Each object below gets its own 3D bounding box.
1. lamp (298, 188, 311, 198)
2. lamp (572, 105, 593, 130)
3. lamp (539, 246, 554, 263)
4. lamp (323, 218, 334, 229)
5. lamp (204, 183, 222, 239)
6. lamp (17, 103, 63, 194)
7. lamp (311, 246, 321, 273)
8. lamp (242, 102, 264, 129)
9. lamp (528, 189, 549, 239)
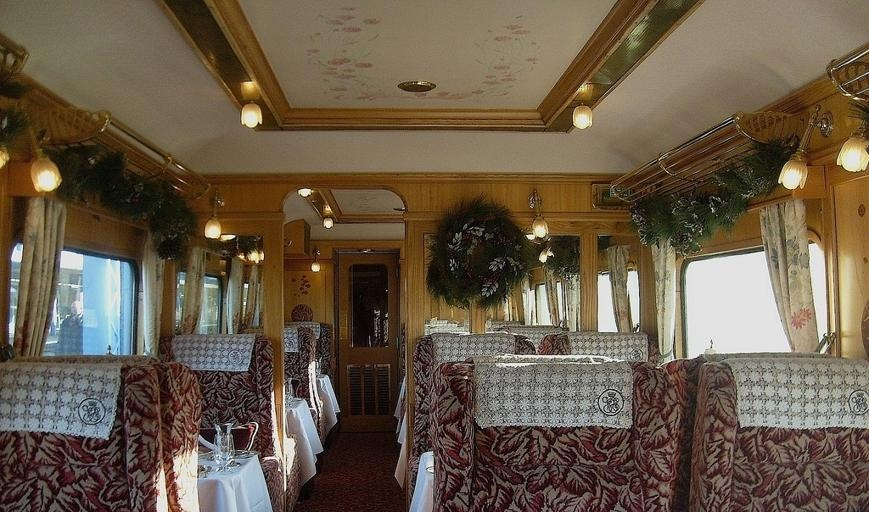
[{"bbox_3d":[-1.679,-0.822,7.491,0.145,0.035,0.145,-6,-18,26],"label":"lamp"},{"bbox_3d":[1.415,-1.358,5.474,0.137,0.289,0.267,-6,-13,24],"label":"lamp"},{"bbox_3d":[1.378,-0.011,7.121,0.195,0.205,0.154,-1,-19,-2],"label":"lamp"},{"bbox_3d":[-1.738,-0.511,9.467,0.185,0.092,0.235,-2,24,-4],"label":"lamp"},{"bbox_3d":[-2.606,-0.511,6.836,0.192,0.663,0.553,3,-13,-21],"label":"lamp"},{"bbox_3d":[-2.819,-0.803,4.082,0.160,0.682,0.155,-16,9,-25],"label":"lamp"},{"bbox_3d":[-2.321,0.063,11.333,0.199,0.486,0.378,1,-12,-11],"label":"lamp"},{"bbox_3d":[-1.741,-1.381,5.495,0.166,0.288,0.251,4,-13,-24],"label":"lamp"},{"bbox_3d":[1.268,-0.525,7.007,0.223,0.633,0.464,-3,-12,11],"label":"lamp"}]
